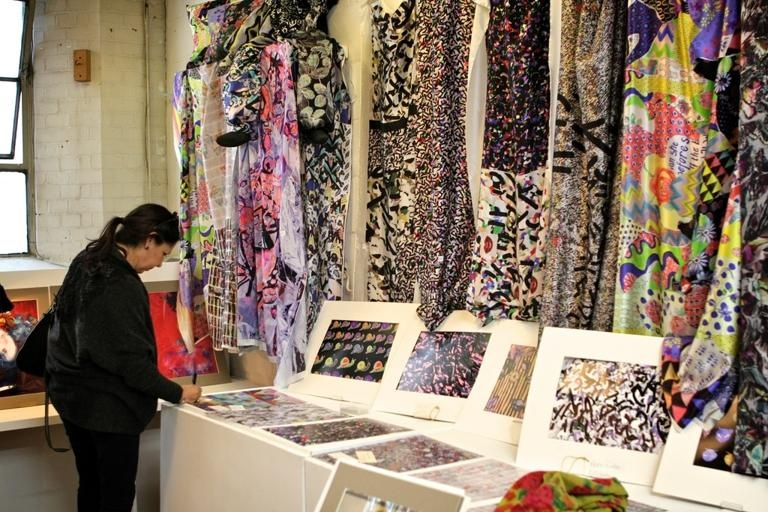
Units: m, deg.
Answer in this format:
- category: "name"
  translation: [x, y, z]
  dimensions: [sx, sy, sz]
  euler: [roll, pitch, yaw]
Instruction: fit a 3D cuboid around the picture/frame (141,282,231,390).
- category: "picture/frame"
  translation: [-1.104, 0.426, 3.195]
  dimensions: [0.597, 0.725, 0.045]
  euler: [-3, -17, -36]
